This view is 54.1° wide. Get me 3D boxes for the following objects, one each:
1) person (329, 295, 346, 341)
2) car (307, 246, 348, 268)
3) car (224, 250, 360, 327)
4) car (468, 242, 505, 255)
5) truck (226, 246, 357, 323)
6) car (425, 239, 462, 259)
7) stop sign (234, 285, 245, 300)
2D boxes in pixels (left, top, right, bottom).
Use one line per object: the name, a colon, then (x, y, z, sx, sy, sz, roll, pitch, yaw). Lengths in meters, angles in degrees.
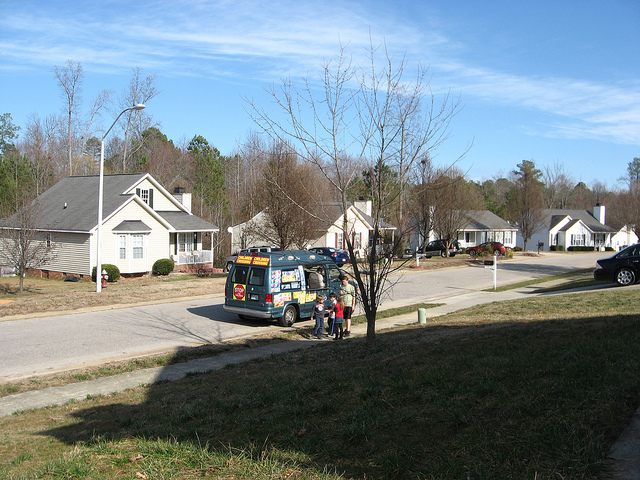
person: (0.554, 2.376, 19.271, 0.387, 1.334, 0.779, 2, 0, 3)
car: (0.918, 0.928, 39.892, 1.105, 0.917, 2.423, -4, 11, -35)
car: (-1.025, 1.492, 22.023, 4.027, 2.218, 2.451, -5, 5, -43)
car: (14.943, 0.780, 55.845, 2.418, 0.965, 1.227, 1, 1, 1)
truck: (-0.915, 1.567, 21.724, 4.018, 2.258, 2.315, -3, 3, -41)
car: (10.957, 0.880, 55.107, 3.317, 1.551, 1.661, 1, 2, 9)
stop sign: (-2.699, 1.751, 21.119, 0.439, 0.507, 0.059, -1, -2, 39)
